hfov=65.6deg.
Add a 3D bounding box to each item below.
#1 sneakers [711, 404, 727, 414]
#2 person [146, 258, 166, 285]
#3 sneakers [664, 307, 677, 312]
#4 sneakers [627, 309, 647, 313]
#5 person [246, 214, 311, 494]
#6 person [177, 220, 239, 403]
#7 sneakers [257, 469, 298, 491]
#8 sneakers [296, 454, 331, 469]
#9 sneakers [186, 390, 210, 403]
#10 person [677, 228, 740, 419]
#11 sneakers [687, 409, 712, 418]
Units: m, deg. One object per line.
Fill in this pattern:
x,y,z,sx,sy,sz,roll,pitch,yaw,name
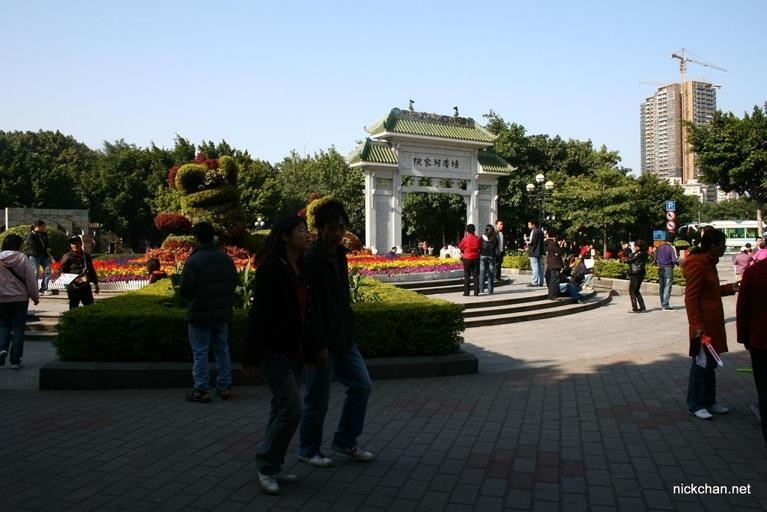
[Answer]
4.428,2.020,7.834,0.260,0.111,0.094,0,4,-6,sneakers
-4.931,0.324,12.900,0.274,0.654,1.218,-3,10,-18,person
7.481,1.400,15.475,0.356,0.141,0.131,-1,0,-8,sneakers
6.513,1.439,15.201,0.411,0.174,0.138,4,-6,6,sneakers
-1.101,1.028,6.354,0.647,2.858,0.650,-2,9,-9,person
-2.452,0.793,8.375,0.582,2.464,0.610,1,9,10,person
-1.143,2.401,6.341,0.468,0.200,0.158,-9,-9,40,sneakers
-0.784,2.291,6.668,0.358,0.148,0.144,2,2,8,sneakers
-2.581,1.975,8.420,0.332,0.222,0.160,4,-2,7,sneakers
4.263,0.864,7.830,0.652,2.402,0.841,4,10,27,person
4.129,2.043,7.712,0.095,0.093,0.233,2,-7,-18,sneakers
